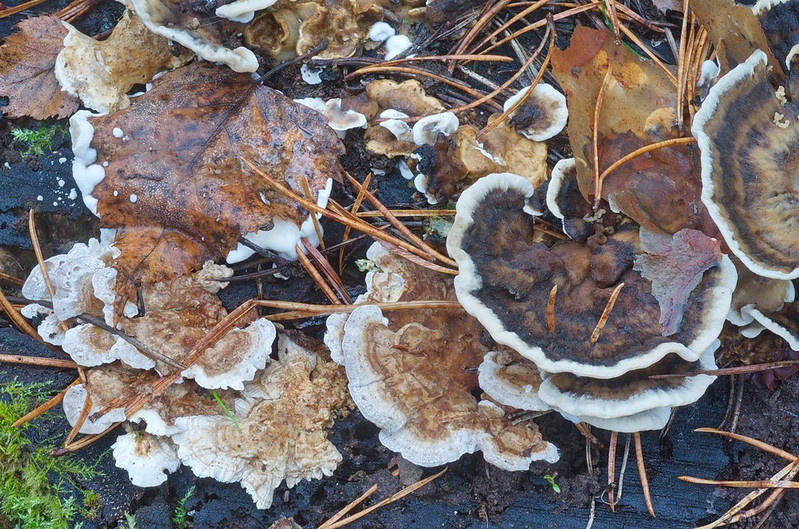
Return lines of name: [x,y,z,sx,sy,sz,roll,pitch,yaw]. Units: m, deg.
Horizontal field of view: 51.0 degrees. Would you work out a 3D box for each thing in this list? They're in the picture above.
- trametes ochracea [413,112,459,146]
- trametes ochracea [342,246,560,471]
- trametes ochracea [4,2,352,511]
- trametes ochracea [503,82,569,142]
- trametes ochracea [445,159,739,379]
trametes ochracea: [0.266,-0.996,6.161,0.349,0.135,0.213,-22,82,0]
trametes ochracea: [0.402,0.868,6.584,1.568,0.359,1.754,2,93,0]
trametes ochracea: [-1.531,-0.117,6.188,2.446,0.895,3.716,9,102,-4]
trametes ochracea: [1.022,-1.110,6.217,0.438,0.100,0.420,-40,90,-3]
trametes ochracea: [1.246,0.228,5.863,1.843,0.363,1.326,14,83,10]
